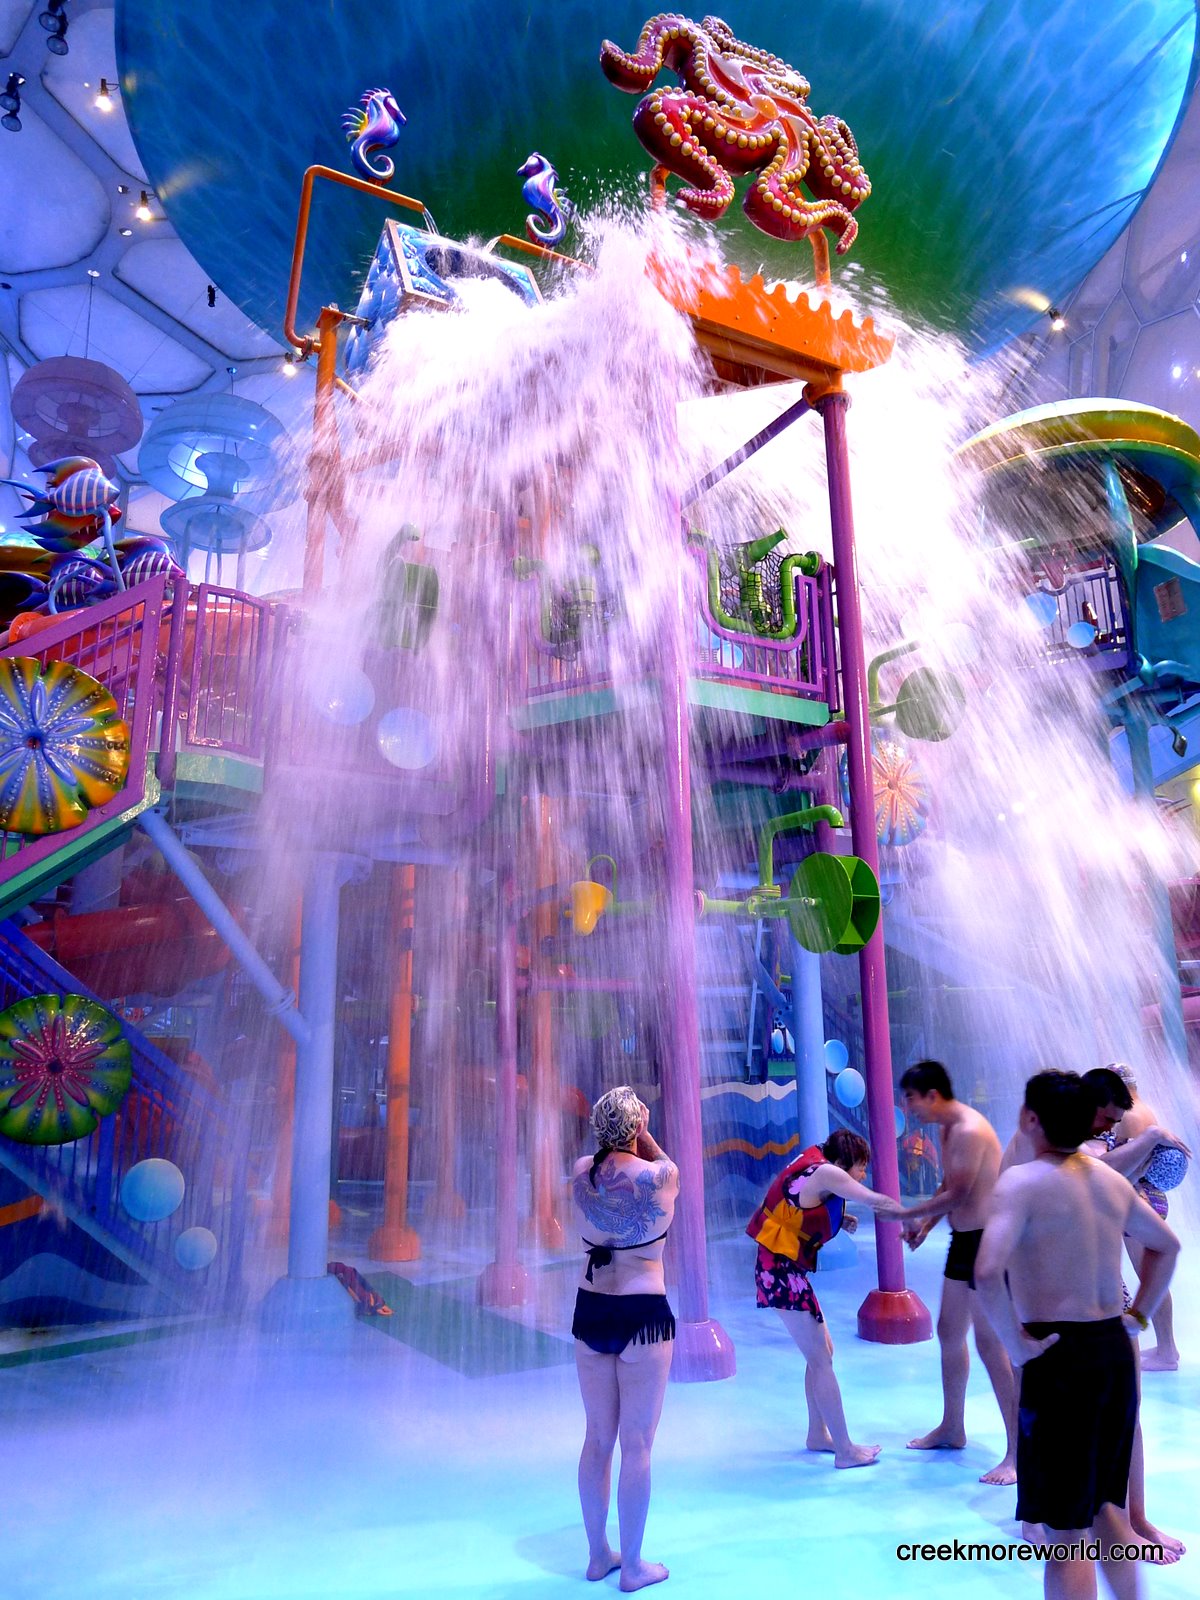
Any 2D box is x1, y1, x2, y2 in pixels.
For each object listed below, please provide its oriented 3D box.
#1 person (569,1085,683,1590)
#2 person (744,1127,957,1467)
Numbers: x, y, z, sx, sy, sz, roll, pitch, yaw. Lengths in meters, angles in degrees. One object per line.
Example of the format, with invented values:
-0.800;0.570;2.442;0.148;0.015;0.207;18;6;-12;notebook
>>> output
0.086;1.704;3.480;0.326;1.516;0.593;-2;-16;-1;person
0.969;2.054;4.537;0.708;1.268;0.496;-2;-8;21;person
